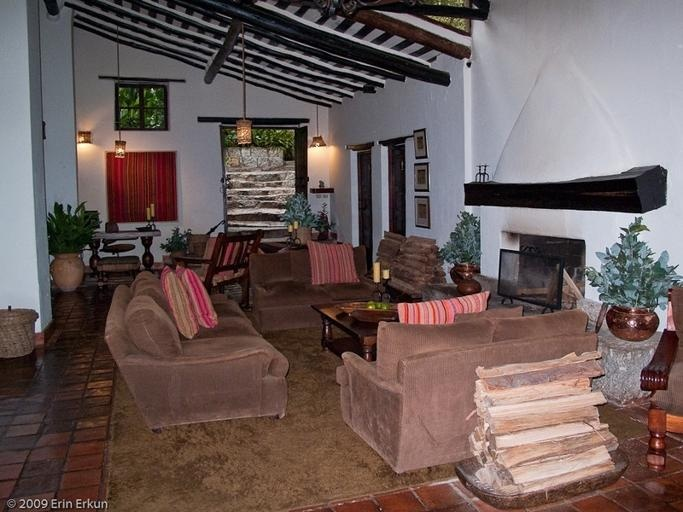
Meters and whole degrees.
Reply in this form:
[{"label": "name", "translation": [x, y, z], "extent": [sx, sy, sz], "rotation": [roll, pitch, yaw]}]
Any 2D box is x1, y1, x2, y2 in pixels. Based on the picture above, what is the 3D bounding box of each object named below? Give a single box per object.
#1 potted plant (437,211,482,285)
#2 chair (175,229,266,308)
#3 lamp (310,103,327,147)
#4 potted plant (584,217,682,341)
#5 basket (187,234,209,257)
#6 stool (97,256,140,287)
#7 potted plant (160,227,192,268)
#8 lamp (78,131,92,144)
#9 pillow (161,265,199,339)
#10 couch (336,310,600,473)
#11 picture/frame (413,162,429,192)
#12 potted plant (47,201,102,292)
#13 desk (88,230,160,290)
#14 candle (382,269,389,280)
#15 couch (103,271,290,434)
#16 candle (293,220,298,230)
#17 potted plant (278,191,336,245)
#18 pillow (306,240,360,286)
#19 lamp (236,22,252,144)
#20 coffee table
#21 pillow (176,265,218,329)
[{"label": "potted plant", "translation": [1.561, -0.064, 6.408], "extent": [0.589, 0.916, 0.652], "rotation": [8, 6, 11]}, {"label": "chair", "translation": [-1.807, 0.237, 6.849], "extent": [1.058, 1.299, 1.041], "rotation": [-4, 16, -38]}, {"label": "lamp", "translation": [-0.565, -3.103, 11.472], "extent": [0.429, 0.992, 0.476], "rotation": [-1, 10, -3]}, {"label": "potted plant", "translation": [2.378, 0.177, 4.256], "extent": [0.871, 1.254, 0.866], "rotation": [-1, 1, -6]}, {"label": "basket", "translation": [-2.422, -0.162, 8.054], "extent": [0.398, 0.596, 0.431], "rotation": [1, 1, -16]}, {"label": "stool", "translation": [-4.172, 0.217, 8.861], "extent": [0.773, 0.551, 0.784], "rotation": [-3, 9, -26]}, {"label": "potted plant", "translation": [-3.576, -0.150, 10.385], "extent": [0.566, 0.793, 0.541], "rotation": [9, -5, 20]}, {"label": "lamp", "translation": [-5.505, -2.528, 10.215], "extent": [0.280, 0.259, 0.233], "rotation": [-7, 12, -31]}, {"label": "pillow", "translation": [-1.317, 0.390, 4.226], "extent": [0.145, 0.529, 0.507], "rotation": [-14, 5, -3]}, {"label": "couch", "translation": [0.647, 0.468, 3.298], "extent": [1.434, 0.978, 1.019], "rotation": [-4, 12, -17]}, {"label": "picture/frame", "translation": [1.290, -1.256, 7.641], "extent": [0.036, 0.516, 0.483], "rotation": [-2, 4, -21]}, {"label": "potted plant", "translation": [-4.452, -0.116, 7.926], "extent": [0.932, 1.417, 0.792], "rotation": [3, 1, 39]}, {"label": "desk", "translation": [-3.992, 0.052, 8.602], "extent": [1.209, 0.979, 1.074], "rotation": [0, 5, -11]}, {"label": "candle", "translation": [0.491, 0.198, 5.030], "extent": [0.083, 0.102, 0.085], "rotation": [2, 0, -20]}, {"label": "couch", "translation": [-1.135, 0.281, 3.693], "extent": [0.965, 0.760, 1.702], "rotation": [-1, 11, -20]}, {"label": "candle", "translation": [-0.804, -0.558, 8.653], "extent": [0.105, 0.185, 0.110], "rotation": [0, 2, 36]}, {"label": "potted plant", "translation": [-0.523, -0.662, 9.318], "extent": [0.906, 1.053, 1.073], "rotation": [-5, -2, -12]}, {"label": "pillow", "translation": [-0.205, 0.085, 6.664], "extent": [0.748, 0.244, 0.818], "rotation": [5, -33, -26]}, {"label": "lamp", "translation": [-1.280, -2.324, 6.262], "extent": [0.240, 1.766, 0.249], "rotation": [7, 12, 20]}, {"label": "coffee table", "translation": [0.188, 0.663, 4.821], "extent": [0.529, 0.353, 0.841], "rotation": [-1, 5, -21]}, {"label": "pillow", "translation": [-1.341, 0.386, 4.466], "extent": [0.142, 0.521, 0.472], "rotation": [-19, -1, 14]}]
